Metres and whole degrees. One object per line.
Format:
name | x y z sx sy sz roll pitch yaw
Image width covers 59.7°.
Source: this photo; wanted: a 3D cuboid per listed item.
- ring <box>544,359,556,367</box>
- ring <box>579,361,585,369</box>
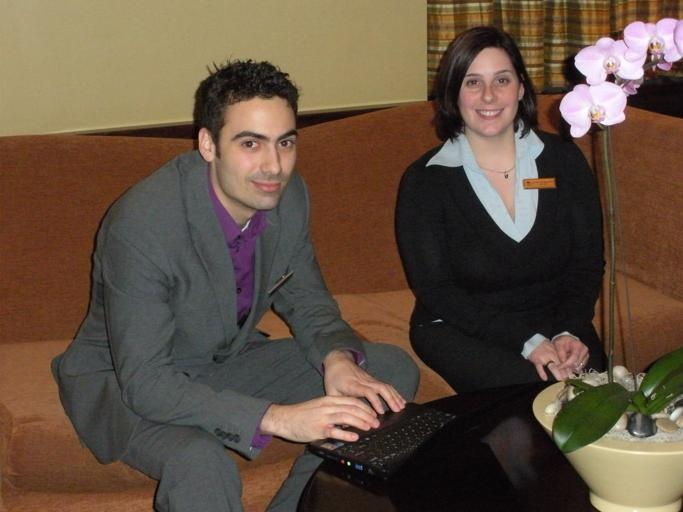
ring | 0.703 0.360 1.994 0.025 0.009 0.019 -38 11 -14
ring | 0.821 0.371 2.015 0.009 0.028 0.019 4 49 2
